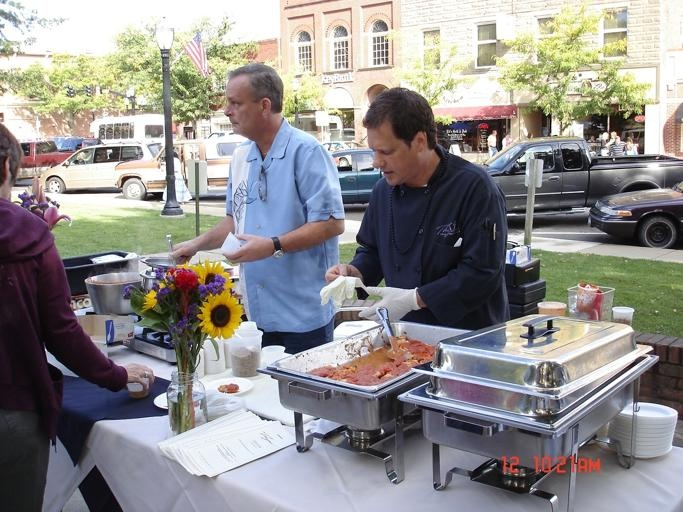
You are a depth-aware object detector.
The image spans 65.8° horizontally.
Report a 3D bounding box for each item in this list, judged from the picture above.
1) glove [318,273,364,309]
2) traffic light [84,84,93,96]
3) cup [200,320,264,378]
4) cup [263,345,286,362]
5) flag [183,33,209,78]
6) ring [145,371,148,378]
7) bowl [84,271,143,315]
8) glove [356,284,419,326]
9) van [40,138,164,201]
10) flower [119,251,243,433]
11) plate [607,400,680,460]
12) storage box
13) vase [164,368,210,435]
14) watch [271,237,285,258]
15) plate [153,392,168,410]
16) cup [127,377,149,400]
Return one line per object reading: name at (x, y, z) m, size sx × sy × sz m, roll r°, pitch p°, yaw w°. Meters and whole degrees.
glove at (0.007, 0.170, 2.501) m, size 0.180 × 0.160 × 0.219 m, roll 1°, pitch 8°, yaw 10°
traffic light at (-19.359, -12.627, 40.550) m, size 0.648 × 0.634 × 0.718 m, roll -4°, pitch 9°, yaw -24°
cup at (-0.605, 0.527, 2.973) m, size 0.220 × 0.247 × 0.346 m, roll -1°, pitch 0°, yaw 28°
cup at (-0.362, 0.514, 2.834) m, size 0.094 × 0.070 × 0.096 m, roll -2°, pitch 6°, yaw 0°
flag at (-4.586, -6.528, 17.053) m, size 0.773 × 1.804 × 0.171 m, roll -4°, pitch -18°, yaw -29°
ring at (-1.001, 0.612, 2.716) m, size 0.016 × 0.022 × 0.007 m, roll -1°, pitch -21°, yaw -1°
bowl at (-1.370, 0.220, 3.272) m, size 0.363 × 0.239 × 0.388 m, roll 1°, pitch 1°, yaw 0°
glove at (0.222, 0.250, 2.615) m, size 0.292 × 0.101 × 0.221 m, roll -10°, pitch 7°, yaw -33°
van at (-9.225, -3.445, 20.923) m, size 4.219 × 1.867 × 2.208 m, roll 3°, pitch 11°, yaw 13°
flower at (-0.681, 0.428, 2.351) m, size 0.479 × 0.749 × 0.414 m, roll 4°, pitch 5°, yaw -10°
plate at (1.217, 0.647, 2.128) m, size 0.238 × 0.154 × 0.245 m, roll 0°, pitch 4°, yaw 24°
storage box at (-1.863, 0.089, 4.130) m, size 0.564 × 0.202 × 0.365 m, roll -5°, pitch 5°, yaw -43°
vase at (-0.696, 0.653, 2.386) m, size 0.159 × 0.285 × 0.162 m, roll -6°, pitch 12°, yaw -25°
watch at (-0.369, -0.047, 3.036) m, size 0.063 × 0.107 × 0.098 m, roll -14°, pitch 22°, yaw -23°
plate at (-0.867, 0.711, 2.580) m, size 0.087 × 0.012 × 0.085 m, roll -13°, pitch 26°, yaw -31°
cup at (-1.011, 0.660, 2.638) m, size 0.092 × 0.071 × 0.094 m, roll 1°, pitch -2°, yaw 0°
